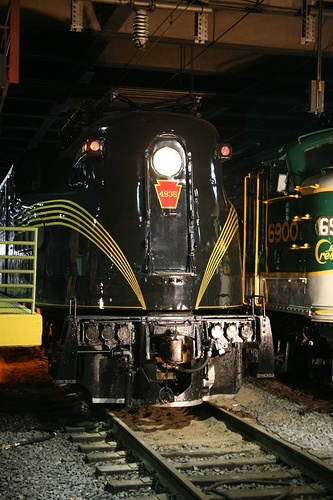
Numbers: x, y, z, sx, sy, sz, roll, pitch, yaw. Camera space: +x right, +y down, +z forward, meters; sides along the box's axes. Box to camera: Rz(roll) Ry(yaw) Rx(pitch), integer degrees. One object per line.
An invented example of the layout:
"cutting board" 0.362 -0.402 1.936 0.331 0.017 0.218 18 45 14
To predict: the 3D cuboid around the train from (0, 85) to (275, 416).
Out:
"train" -0.352 -0.228 4.878 3.123 3.889 1.699 1 -6 14
